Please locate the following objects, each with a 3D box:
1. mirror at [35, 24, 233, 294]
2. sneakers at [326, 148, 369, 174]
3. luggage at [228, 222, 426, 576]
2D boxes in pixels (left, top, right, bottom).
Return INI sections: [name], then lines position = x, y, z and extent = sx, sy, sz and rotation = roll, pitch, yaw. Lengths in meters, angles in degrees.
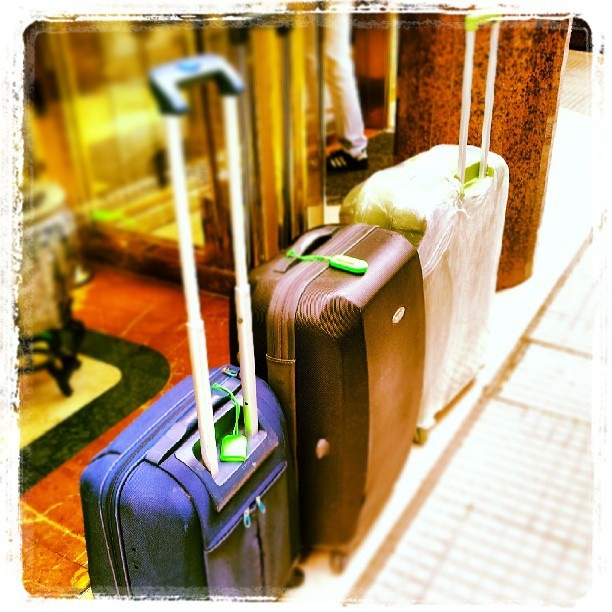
[mirror]
position = -0.351, -0.301, 1.238
extent = 0.130, 0.451, 0.258
rotation = 17, 45, 19
[sneakers]
position = 0.165, -0.616, 2.677
extent = 0.211, 0.115, 0.088
rotation = 8, 21, 10
[luggage]
position = 0.036, 0.161, 1.046
extent = 0.250, 0.546, 0.328
rotation = 22, 42, 30
